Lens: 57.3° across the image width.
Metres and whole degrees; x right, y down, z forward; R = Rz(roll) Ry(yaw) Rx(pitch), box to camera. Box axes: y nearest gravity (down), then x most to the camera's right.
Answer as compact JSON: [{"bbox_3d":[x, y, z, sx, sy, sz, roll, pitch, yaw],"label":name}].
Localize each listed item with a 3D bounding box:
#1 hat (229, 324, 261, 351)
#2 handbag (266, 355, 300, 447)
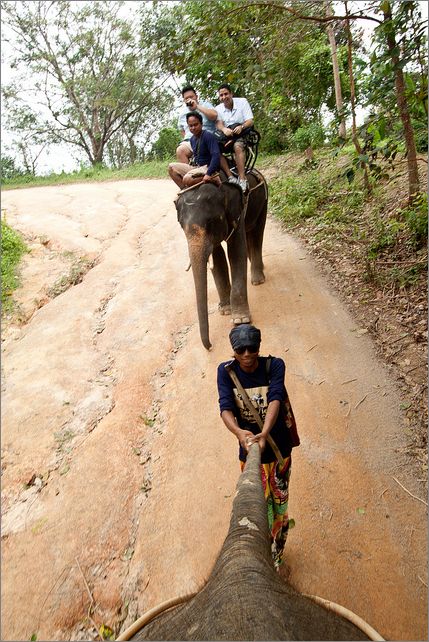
[{"bbox_3d":[0.137,0.073,1.857,0.094,0.110,0.131,-1,-22,-8],"label":"hat"},{"bbox_3d":[0.356,0.406,1.981,0.219,0.427,0.106,-12,-4,41],"label":"handbag"}]
